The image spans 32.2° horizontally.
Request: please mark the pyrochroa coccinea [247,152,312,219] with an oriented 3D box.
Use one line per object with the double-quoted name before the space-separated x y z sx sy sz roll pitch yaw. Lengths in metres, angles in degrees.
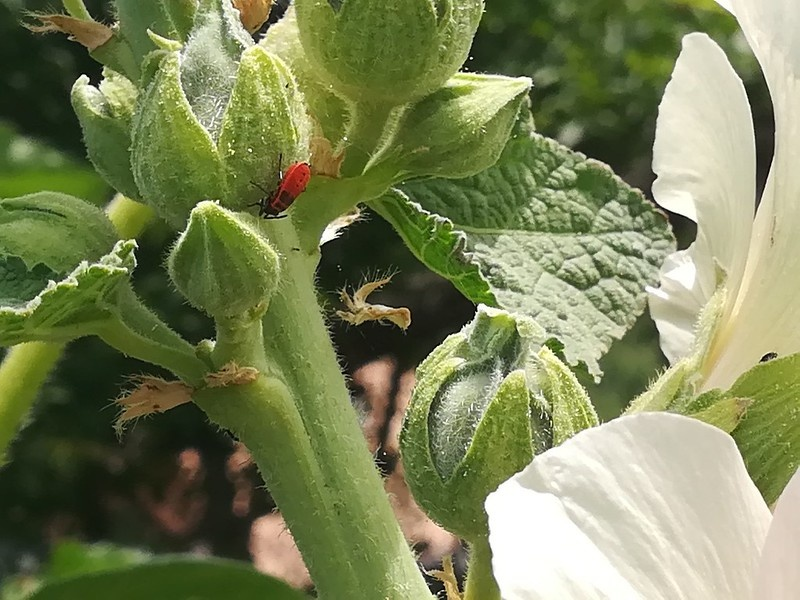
"pyrochroa coccinea" -0.090 -0.084 1.021 0.037 0.014 0.048 25 -58 -31
